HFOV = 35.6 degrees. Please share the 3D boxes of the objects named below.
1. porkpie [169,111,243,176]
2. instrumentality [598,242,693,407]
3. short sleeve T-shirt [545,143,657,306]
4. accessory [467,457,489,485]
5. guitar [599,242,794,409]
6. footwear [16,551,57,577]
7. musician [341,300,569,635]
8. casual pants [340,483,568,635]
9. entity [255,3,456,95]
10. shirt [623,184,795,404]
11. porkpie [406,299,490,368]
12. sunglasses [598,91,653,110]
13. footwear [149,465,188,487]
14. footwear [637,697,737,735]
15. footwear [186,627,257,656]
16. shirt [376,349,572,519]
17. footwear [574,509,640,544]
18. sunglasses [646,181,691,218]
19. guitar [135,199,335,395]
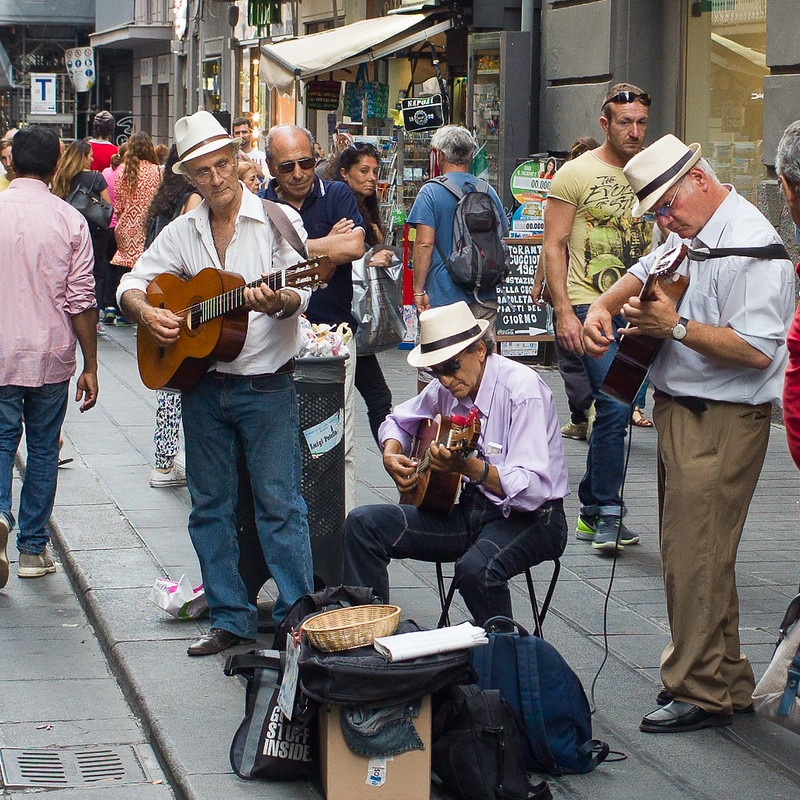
[{"bbox_3d":[-0.738,-0.930,4.644,0.232,0.130,0.203,-24,11,48],"label":"porkpie"},{"bbox_3d":[0.874,-0.251,4.446,0.123,0.343,0.798,27,-10,2],"label":"instrumentality"},{"bbox_3d":[1.081,-0.885,6.560,0.563,0.784,0.389,5,-7,-36],"label":"short sleeve T-shirt"},{"bbox_3d":[0.267,0.247,4.260,0.065,0.093,0.100,0,9,3],"label":"accessory"},{"bbox_3d":[0.938,-0.295,4.212,0.154,0.766,0.393,24,21,-16],"label":"guitar"},{"bbox_3d":[-1.816,0.812,6.205,0.086,0.116,0.231,0,2,16],"label":"footwear"},{"bbox_3d":[0.179,0.368,4.544,0.726,1.419,0.764,1,3,30],"label":"musician"},{"bbox_3d":[0.194,0.491,4.587,0.571,0.857,0.539,-1,-15,44],"label":"casual pants"},{"bbox_3d":[-0.622,-3.945,14.140,1.719,0.905,2.356,-5,11,-21],"label":"entity"},{"bbox_3d":[1.004,-0.322,4.068,0.387,0.758,0.757,-7,15,-13],"label":"shirt"},{"bbox_3d":[0.165,-0.218,4.380,0.291,0.250,0.265,0,9,3],"label":"porkpie"},{"bbox_3d":[1.123,-1.501,6.216,0.204,0.070,0.145,1,10,9],"label":"sunglasses"},{"bbox_3d":[-1.429,0.476,7.682,0.115,0.135,0.291,7,7,32],"label":"footwear"},{"bbox_3d":[0.957,1.029,4.135,0.288,0.140,0.118,1,0,-8],"label":"footwear"},{"bbox_3d":[-0.720,0.941,4.878,0.295,0.141,0.100,3,-2,-32],"label":"footwear"},{"bbox_3d":[0.266,-0.085,4.395,0.473,0.562,0.794,-9,15,-29],"label":"shirt"},{"bbox_3d":[1.079,0.664,6.538,0.127,0.173,0.355,-1,2,-26],"label":"footwear"},{"bbox_3d":[0.882,-0.639,4.091,0.035,0.119,0.112,33,-13,6],"label":"sunglasses"},{"bbox_3d":[-0.701,-0.276,4.699,0.312,0.533,1.095,-9,12,-41],"label":"guitar"}]
